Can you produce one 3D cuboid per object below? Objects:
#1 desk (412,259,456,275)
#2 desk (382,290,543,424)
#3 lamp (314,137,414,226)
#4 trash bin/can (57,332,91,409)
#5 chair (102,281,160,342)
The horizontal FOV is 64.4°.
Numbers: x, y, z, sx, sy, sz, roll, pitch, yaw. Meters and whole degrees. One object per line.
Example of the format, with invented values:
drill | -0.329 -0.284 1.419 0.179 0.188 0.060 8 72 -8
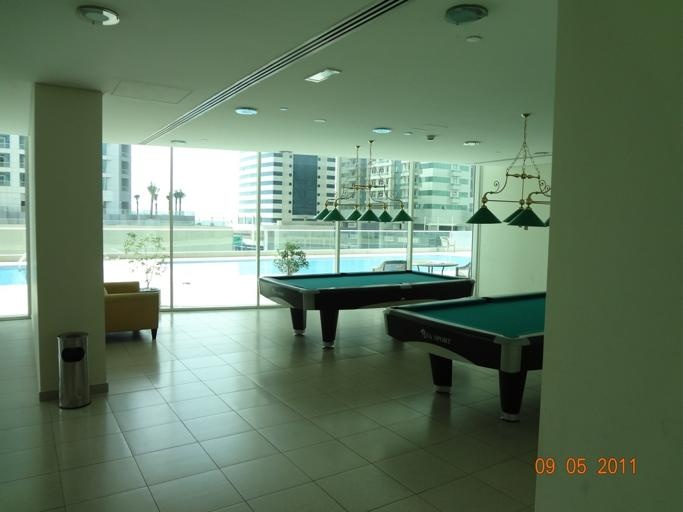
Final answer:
desk | 1.935 0.201 10.828 0.493 0.251 0.444 -3 7 -16
desk | 1.121 0.650 4.530 1.579 0.428 1.055 -2 2 -39
lamp | 0.366 -1.213 8.588 1.727 1.063 1.563 -1 3 -34
trash bin/can | -2.284 0.972 4.635 0.237 0.630 0.209 -3 10 -25
chair | -2.781 0.852 7.133 0.761 0.688 1.221 -3 4 -27
